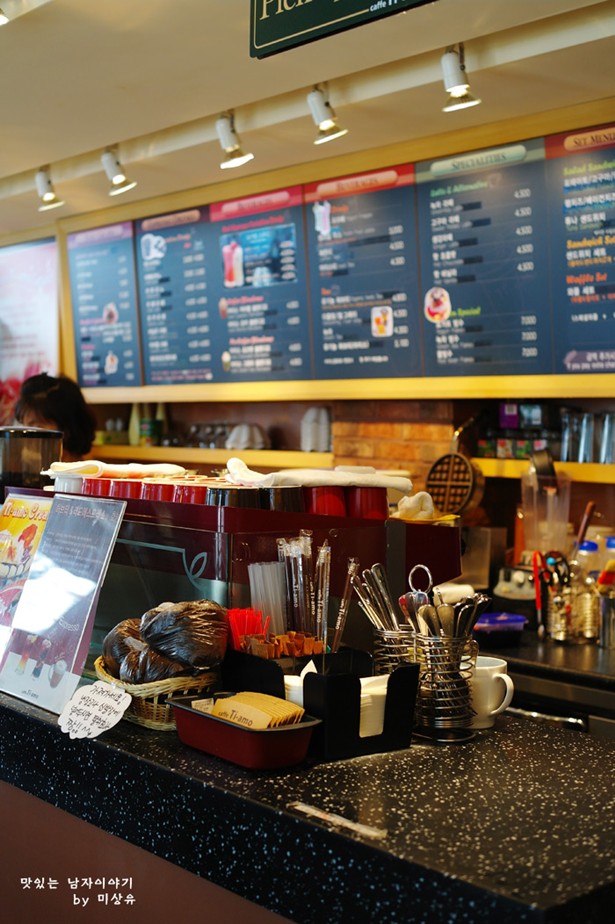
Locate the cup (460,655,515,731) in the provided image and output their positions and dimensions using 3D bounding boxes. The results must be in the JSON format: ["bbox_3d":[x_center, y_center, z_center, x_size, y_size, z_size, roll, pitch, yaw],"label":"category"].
[{"bbox_3d":[0.259,0.337,0.913,0.058,0.082,0.090,11,-16,-19],"label":"cup"}]

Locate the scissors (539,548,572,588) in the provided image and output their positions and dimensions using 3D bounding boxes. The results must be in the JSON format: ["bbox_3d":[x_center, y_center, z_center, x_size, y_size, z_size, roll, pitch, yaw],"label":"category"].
[{"bbox_3d":[0.744,0.319,1.915,0.073,0.107,0.046,-13,-14,-5],"label":"scissors"}]

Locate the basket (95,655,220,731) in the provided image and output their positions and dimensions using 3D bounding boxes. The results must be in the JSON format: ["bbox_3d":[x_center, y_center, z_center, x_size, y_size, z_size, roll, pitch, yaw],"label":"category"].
[{"bbox_3d":[-0.202,0.311,0.883,0.109,0.116,0.048,15,18,-10],"label":"basket"}]

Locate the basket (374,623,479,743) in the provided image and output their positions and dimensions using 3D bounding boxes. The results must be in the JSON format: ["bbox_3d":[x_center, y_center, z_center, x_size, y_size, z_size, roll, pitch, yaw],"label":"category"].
[{"bbox_3d":[0.167,0.303,0.934,0.141,0.144,0.139,0,3,-4],"label":"basket"}]

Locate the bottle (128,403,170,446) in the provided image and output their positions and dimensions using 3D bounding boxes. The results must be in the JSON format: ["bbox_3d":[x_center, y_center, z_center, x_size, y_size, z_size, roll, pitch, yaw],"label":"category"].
[{"bbox_3d":[-1.068,-0.258,4.292,0.280,0.308,0.303,3,-8,-13],"label":"bottle"}]

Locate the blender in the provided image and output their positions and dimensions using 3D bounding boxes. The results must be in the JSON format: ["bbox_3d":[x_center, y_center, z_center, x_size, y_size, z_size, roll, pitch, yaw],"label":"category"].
[{"bbox_3d":[0.788,0.254,2.266,0.298,0.461,0.291,8,-10,-41],"label":"blender"}]

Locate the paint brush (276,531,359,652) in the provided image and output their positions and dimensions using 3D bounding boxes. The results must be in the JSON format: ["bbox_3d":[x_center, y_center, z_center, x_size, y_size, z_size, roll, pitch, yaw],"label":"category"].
[{"bbox_3d":[-0.008,0.183,0.930,0.070,0.162,0.071,4,-8,-17],"label":"paint brush"}]

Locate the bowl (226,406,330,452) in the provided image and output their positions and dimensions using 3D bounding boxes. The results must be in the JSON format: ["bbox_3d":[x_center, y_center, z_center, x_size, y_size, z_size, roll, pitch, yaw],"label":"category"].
[{"bbox_3d":[-0.079,-0.179,3.703,0.749,0.331,0.243,1,0,26],"label":"bowl"}]
